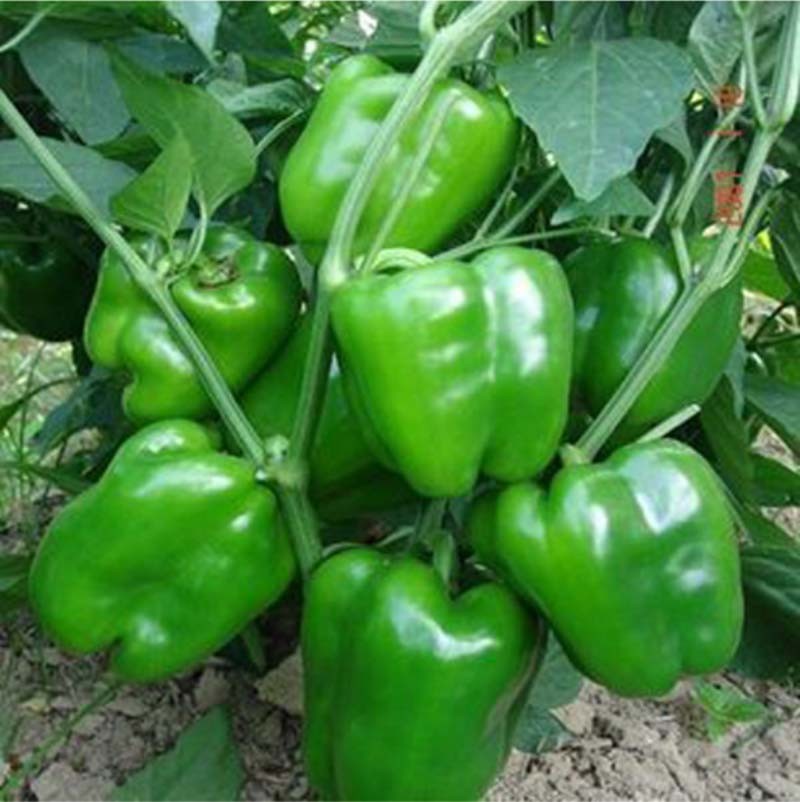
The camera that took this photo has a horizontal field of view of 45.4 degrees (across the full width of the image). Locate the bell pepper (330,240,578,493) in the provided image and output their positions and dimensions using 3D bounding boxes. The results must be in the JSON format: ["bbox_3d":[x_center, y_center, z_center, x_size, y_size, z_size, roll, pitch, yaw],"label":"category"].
[{"bbox_3d":[0.038,-0.033,0.512,0.111,0.147,0.116,-8,20,-3],"label":"bell pepper"}]

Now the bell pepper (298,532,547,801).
[{"bbox_3d":[0.003,0.138,0.548,0.107,0.112,0.140,19,79,-7],"label":"bell pepper"}]

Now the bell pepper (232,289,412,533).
[{"bbox_3d":[-0.037,0.000,0.592,0.049,0.088,0.132,-37,106,-51],"label":"bell pepper"}]

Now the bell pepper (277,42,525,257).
[{"bbox_3d":[-0.006,-0.127,0.565,0.106,0.134,0.112,36,21,8],"label":"bell pepper"}]

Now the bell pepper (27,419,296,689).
[{"bbox_3d":[-0.133,0.084,0.568,0.154,0.121,0.112,-51,29,-12],"label":"bell pepper"}]
